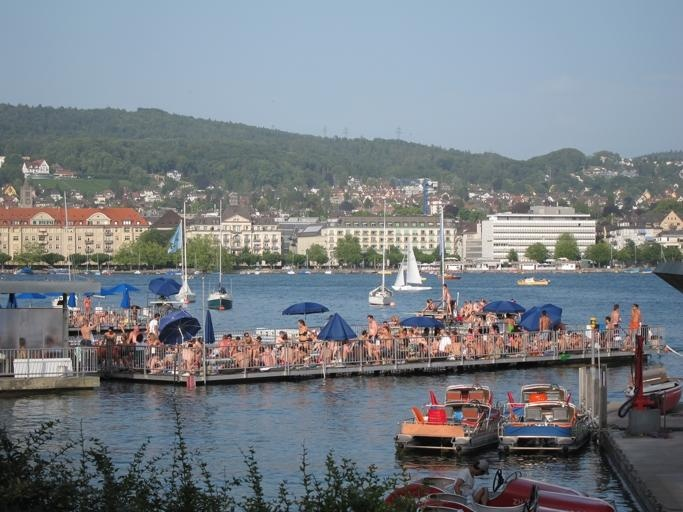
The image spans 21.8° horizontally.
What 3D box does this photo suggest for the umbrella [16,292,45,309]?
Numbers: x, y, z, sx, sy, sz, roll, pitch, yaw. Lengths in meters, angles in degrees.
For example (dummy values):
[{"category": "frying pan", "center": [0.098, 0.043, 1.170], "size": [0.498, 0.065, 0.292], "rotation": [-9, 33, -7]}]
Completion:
[{"category": "umbrella", "center": [-19.091, 2.730, 108.677], "size": [1.566, 1.117, 1.603], "rotation": [-1, -3, -3]}]
